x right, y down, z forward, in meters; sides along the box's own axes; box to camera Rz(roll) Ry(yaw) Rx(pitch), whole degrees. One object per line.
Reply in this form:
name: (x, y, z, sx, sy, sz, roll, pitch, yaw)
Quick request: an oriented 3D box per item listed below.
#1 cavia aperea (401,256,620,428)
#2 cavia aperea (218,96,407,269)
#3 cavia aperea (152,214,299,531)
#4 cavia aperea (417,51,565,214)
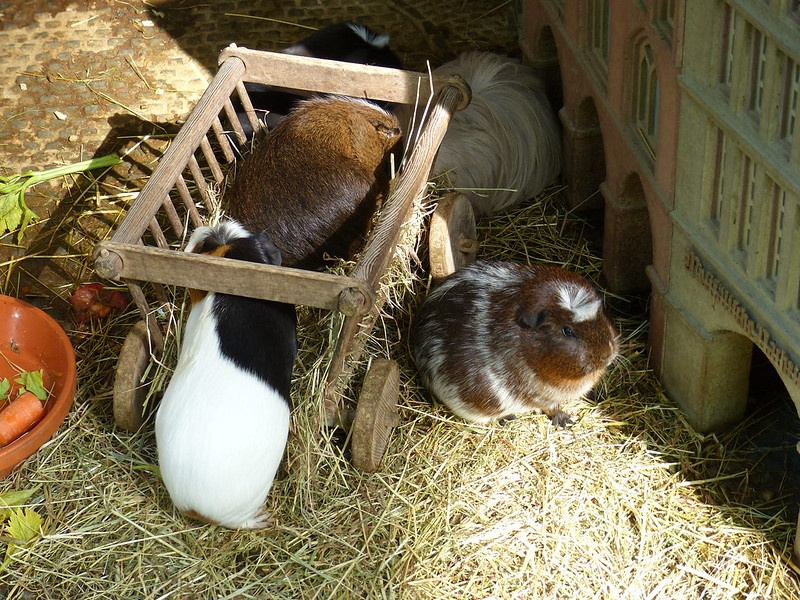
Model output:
cavia aperea: (0.612, 0.148, 4.142, 0.993, 0.747, 0.798, 7, 54, 20)
cavia aperea: (-0.500, -0.732, 4.740, 0.837, 1.175, 0.844, 30, 2, -41)
cavia aperea: (-0.877, 0.423, 3.748, 0.813, 1.221, 1.360, -6, 42, -11)
cavia aperea: (0.543, -1.132, 5.704, 1.062, 1.054, 1.287, 3, 39, 4)
